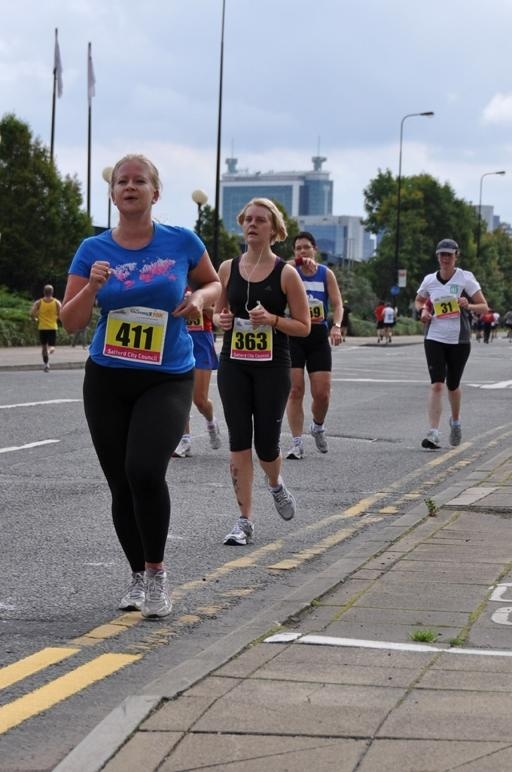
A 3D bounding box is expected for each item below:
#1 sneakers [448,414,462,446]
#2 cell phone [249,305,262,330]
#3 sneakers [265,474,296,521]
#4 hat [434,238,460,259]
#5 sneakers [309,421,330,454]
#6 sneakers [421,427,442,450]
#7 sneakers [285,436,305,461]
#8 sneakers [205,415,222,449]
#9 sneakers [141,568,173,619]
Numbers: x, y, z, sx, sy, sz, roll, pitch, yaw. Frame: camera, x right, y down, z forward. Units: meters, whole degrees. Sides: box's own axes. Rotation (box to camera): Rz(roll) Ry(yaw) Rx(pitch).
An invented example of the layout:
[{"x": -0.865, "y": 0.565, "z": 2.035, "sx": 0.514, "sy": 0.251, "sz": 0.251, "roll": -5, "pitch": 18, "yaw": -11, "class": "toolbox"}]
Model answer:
[{"x": 2.076, "y": 0.464, "z": 8.985, "sx": 0.130, "sy": 0.343, "sz": 0.141, "roll": -4, "pitch": 18, "yaw": -4, "class": "sneakers"}, {"x": -0.009, "y": -0.383, "z": 4.786, "sx": 0.047, "sy": 0.114, "sz": 0.083, "roll": -5, "pitch": 11, "yaw": -19, "class": "cell phone"}, {"x": 0.149, "y": 0.696, "z": 5.207, "sx": 0.117, "sy": 0.317, "sz": 0.127, "roll": -24, "pitch": 3, "yaw": 22, "class": "sneakers"}, {"x": 1.907, "y": -1.429, "z": 8.685, "sx": 0.229, "sy": 0.166, "sz": 0.322, "roll": -3, "pitch": -15, "yaw": 12, "class": "hat"}, {"x": 0.652, "y": 0.493, "z": 8.448, "sx": 0.123, "sy": 0.354, "sz": 0.154, "roll": -28, "pitch": 23, "yaw": -23, "class": "sneakers"}, {"x": 1.785, "y": 0.536, "z": 8.900, "sx": 0.122, "sy": 0.159, "sz": 0.338, "roll": 1, "pitch": 12, "yaw": 12, "class": "sneakers"}, {"x": 0.375, "y": 0.601, "z": 8.270, "sx": 0.113, "sy": 0.134, "sz": 0.279, "roll": 1, "pitch": 0, "yaw": 15, "class": "sneakers"}, {"x": -0.411, "y": 0.461, "z": 8.710, "sx": 0.114, "sy": 0.325, "sz": 0.140, "roll": -9, "pitch": 11, "yaw": 5, "class": "sneakers"}, {"x": -0.386, "y": 0.817, "z": 3.478, "sx": 0.117, "sy": 0.211, "sz": 0.198, "roll": 2, "pitch": 6, "yaw": -5, "class": "sneakers"}]
